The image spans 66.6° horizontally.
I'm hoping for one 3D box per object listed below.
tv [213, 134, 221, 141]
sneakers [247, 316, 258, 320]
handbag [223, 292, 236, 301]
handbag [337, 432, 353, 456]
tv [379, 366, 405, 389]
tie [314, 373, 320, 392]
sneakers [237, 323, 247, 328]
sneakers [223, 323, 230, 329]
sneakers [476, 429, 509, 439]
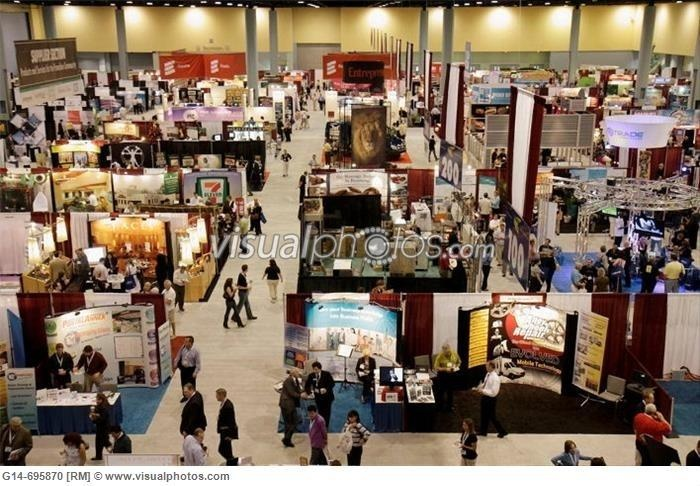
[{"bbox_3d":[-5.837,-4.641,23.564,0.369,0.357,0.264,-3,27,-12],"label":"tv"},{"bbox_3d":[-2.166,1.677,11.959,0.233,0.105,0.072,-4,20,-15],"label":"sneakers"},{"bbox_3d":[-2.568,1.137,11.409,0.181,0.219,0.235,1,8,3],"label":"handbag"},{"bbox_3d":[-0.046,2.701,7.201,0.181,0.293,0.155,0,15,8],"label":"handbag"},{"bbox_3d":[0.684,2.158,8.656,0.487,0.349,0.253,0,-6,-7],"label":"tv"},{"bbox_3d":[-0.495,2.171,8.264,0.048,0.196,0.145,4,8,-6],"label":"tie"},{"bbox_3d":[-2.327,1.806,11.624,0.164,0.127,0.060,-8,23,-19],"label":"sneakers"},{"bbox_3d":[-2.672,1.811,11.614,0.056,0.101,0.139,10,17,22],"label":"sneakers"},{"bbox_3d":[2.240,2.982,8.362,0.436,0.097,0.140,0,15,8],"label":"sneakers"}]
